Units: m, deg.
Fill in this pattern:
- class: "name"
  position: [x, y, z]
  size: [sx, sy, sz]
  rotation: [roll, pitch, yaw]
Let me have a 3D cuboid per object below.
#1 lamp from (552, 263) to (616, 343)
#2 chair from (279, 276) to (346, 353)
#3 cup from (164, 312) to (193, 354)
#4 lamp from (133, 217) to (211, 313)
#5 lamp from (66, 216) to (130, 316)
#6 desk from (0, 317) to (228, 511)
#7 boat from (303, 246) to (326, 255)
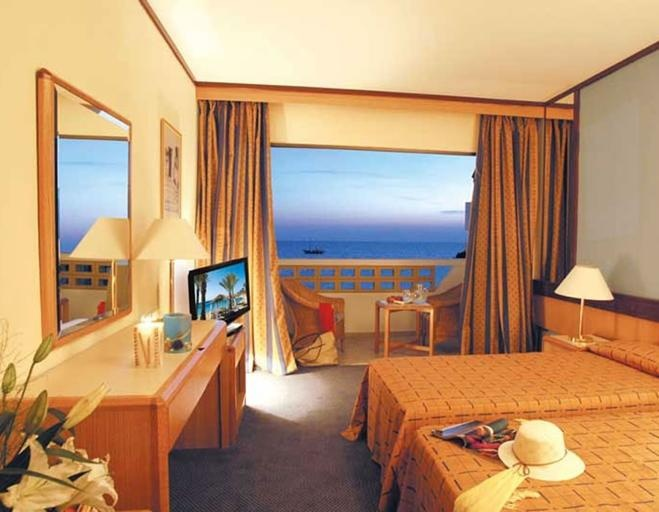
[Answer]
- class: "lamp"
  position: [2.243, 0.415, 4.578]
  size: [0.441, 0.666, 0.607]
  rotation: [5, 8, 30]
- class: "chair"
  position: [-0.161, 0.731, 6.169]
  size: [0.717, 0.891, 0.740]
  rotation: [0, 1, 9]
- class: "cup"
  position: [-0.875, 0.435, 2.991]
  size: [0.188, 0.226, 0.183]
  rotation: [2, 3, 0]
- class: "lamp"
  position: [-1.118, 0.106, 3.695]
  size: [0.455, 0.874, 0.453]
  rotation: [-3, 29, -22]
- class: "lamp"
  position: [-1.374, 0.013, 3.343]
  size: [0.533, 0.629, 0.400]
  rotation: [2, 20, -16]
- class: "desk"
  position: [-1.020, 0.722, 2.444]
  size: [0.375, 0.570, 1.113]
  rotation: [-1, 4, -6]
- class: "boat"
  position: [-0.444, -0.098, 12.205]
  size: [0.701, 0.281, 0.198]
  rotation: [3, -1, -6]
